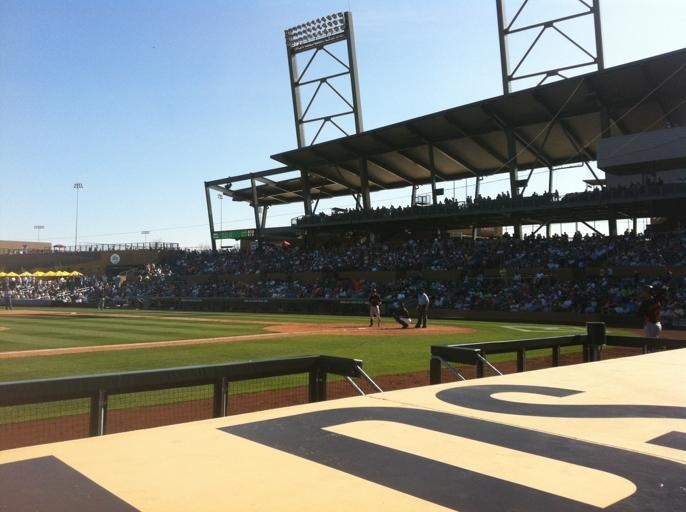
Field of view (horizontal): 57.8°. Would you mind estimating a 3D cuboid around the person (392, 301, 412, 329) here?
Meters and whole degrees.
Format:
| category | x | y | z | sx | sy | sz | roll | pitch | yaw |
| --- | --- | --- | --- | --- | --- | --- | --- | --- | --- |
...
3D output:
| category | x | y | z | sx | sy | sz | roll | pitch | yaw |
| --- | --- | --- | --- | --- | --- | --- | --- | --- | --- |
| person | 2.169 | 2.246 | 23.498 | 0.549 | 0.886 | 1.343 | 0 | -3 | 3 |
